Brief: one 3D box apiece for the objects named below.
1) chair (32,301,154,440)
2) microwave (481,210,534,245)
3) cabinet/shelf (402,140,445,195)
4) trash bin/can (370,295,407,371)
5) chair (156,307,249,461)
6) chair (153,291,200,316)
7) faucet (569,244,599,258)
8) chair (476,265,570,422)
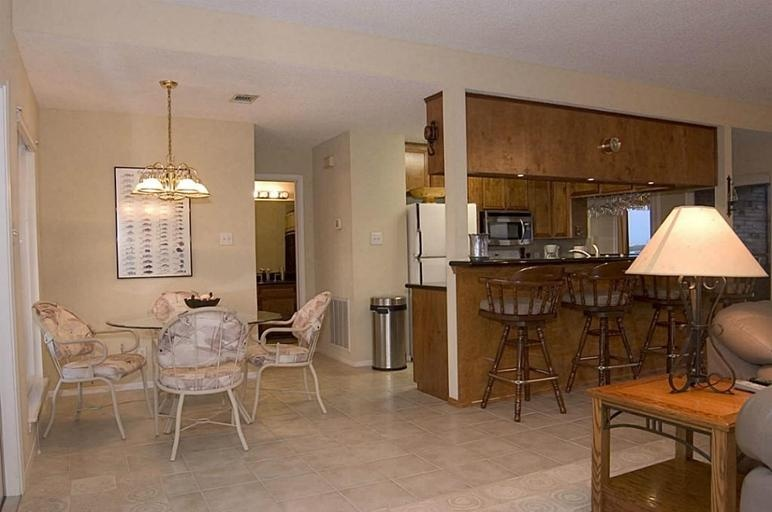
[{"bbox_3d":[-2.499,0.933,4.906,0.910,0.951,0.896,3,1,29],"label":"chair"},{"bbox_3d":[1.678,-0.412,7.907,0.918,0.526,0.552,0,-2,-26],"label":"microwave"},{"bbox_3d":[0.425,-1.081,6.938,0.473,0.734,0.837,-2,1,19],"label":"cabinet/shelf"},{"bbox_3d":[0.034,0.919,6.820,0.408,0.874,0.323,-2,9,-2],"label":"trash bin/can"},{"bbox_3d":[-1.499,0.942,4.648,0.766,1.175,0.859,-5,9,-22],"label":"chair"},{"bbox_3d":[-1.979,0.451,5.377,0.217,0.094,0.255,6,9,4],"label":"chair"},{"bbox_3d":[2.840,-0.077,8.151,0.296,0.241,0.145,2,-4,-19],"label":"faucet"},{"bbox_3d":[1.313,0.729,5.212,0.931,1.325,0.804,-3,9,-14],"label":"chair"}]
